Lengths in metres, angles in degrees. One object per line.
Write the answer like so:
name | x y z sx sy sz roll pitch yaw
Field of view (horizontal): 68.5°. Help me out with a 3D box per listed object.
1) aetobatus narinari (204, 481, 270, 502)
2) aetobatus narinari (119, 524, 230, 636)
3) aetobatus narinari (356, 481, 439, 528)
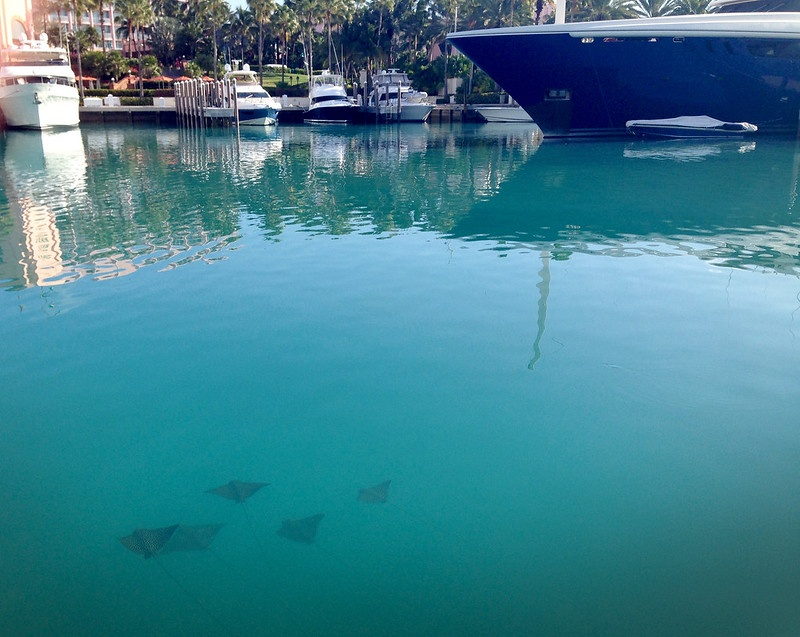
aetobatus narinari | -1.241 1.296 4.467 0.300 0.039 0.190 1 24 -14
aetobatus narinari | -1.607 1.673 4.013 0.626 0.049 0.634 33 11 -11
aetobatus narinari | -0.075 1.367 4.352 0.397 0.032 0.287 21 36 26
